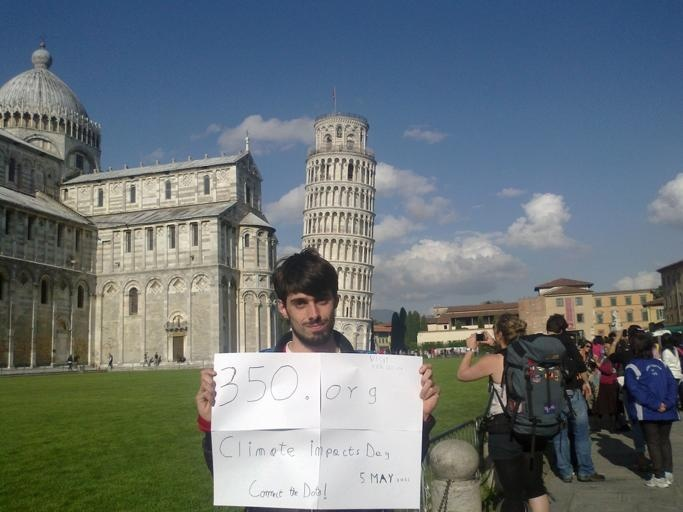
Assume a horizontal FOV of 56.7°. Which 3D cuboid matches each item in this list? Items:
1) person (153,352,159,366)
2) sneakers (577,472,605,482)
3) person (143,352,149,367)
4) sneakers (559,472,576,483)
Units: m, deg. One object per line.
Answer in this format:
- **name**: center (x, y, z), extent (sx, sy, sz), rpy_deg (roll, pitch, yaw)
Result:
- **person**: center (-15.841, 8.879, 54.311), extent (0.502, 1.032, 1.594), rpy_deg (2, -5, -17)
- **sneakers**: center (4.452, 3.963, 11.359), extent (0.443, 0.201, 0.173), rpy_deg (-1, -10, -7)
- **person**: center (-16.858, 8.940, 54.843), extent (0.486, 1.084, 1.748), rpy_deg (2, -5, -18)
- **sneakers**: center (4.020, 3.957, 11.331), extent (0.205, 0.153, 0.206), rpy_deg (-1, -8, 0)
